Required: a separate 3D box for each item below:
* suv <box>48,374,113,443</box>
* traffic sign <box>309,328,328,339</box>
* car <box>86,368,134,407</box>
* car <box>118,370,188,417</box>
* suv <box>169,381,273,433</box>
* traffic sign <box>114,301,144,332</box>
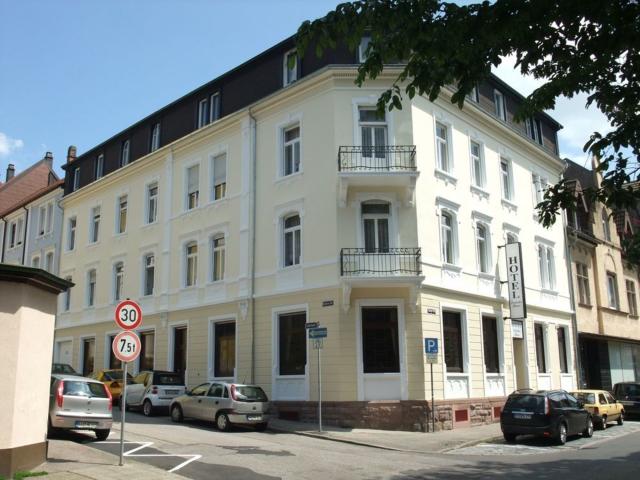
[{"bbox_3d":[-6.795,4.698,16.060,1.273,1.143,2.214,7,-11,-30],"label":"suv"},{"bbox_3d":[-0.051,3.329,20.228,0.441,0.371,0.863,6,-7,-40],"label":"traffic sign"},{"bbox_3d":[-9.665,6.707,26.011,1.436,1.125,3.054,11,-16,-40],"label":"car"},{"bbox_3d":[-6.998,6.348,23.761,1.584,1.333,2.475,10,-16,-36],"label":"car"},{"bbox_3d":[-3.471,5.775,20.523,3.067,1.320,1.725,-8,-24,43],"label":"suv"},{"bbox_3d":[-4.694,1.836,13.851,0.376,0.752,0.712,0,-5,15],"label":"traffic sign"}]
